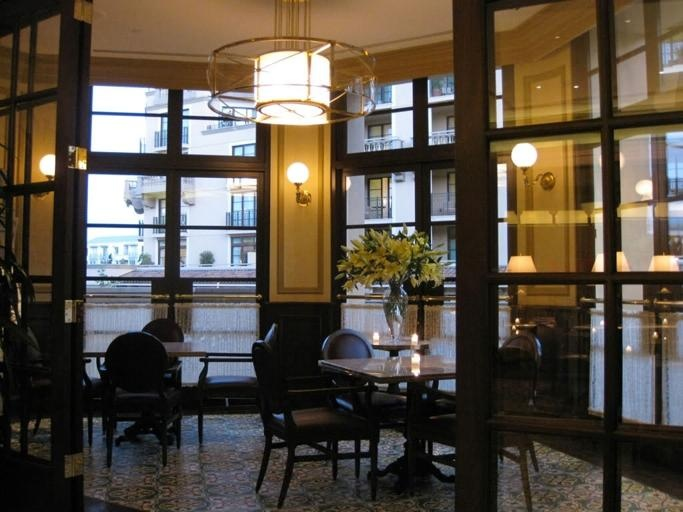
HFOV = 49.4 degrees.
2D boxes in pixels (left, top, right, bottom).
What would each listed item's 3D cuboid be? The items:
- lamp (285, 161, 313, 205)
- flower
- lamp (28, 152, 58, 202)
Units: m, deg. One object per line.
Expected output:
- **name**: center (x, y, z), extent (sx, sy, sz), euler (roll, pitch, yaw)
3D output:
- **lamp**: center (-0.410, -0.713, 7.163), extent (0.238, 0.420, 0.200), euler (0, 1, -4)
- **flower**: center (0.373, 0.035, 5.289), extent (0.601, 0.518, 0.611), euler (-4, 15, 2)
- **lamp**: center (-1.519, -0.416, 3.808), extent (0.164, 0.230, 0.042), euler (1, 2, 37)
